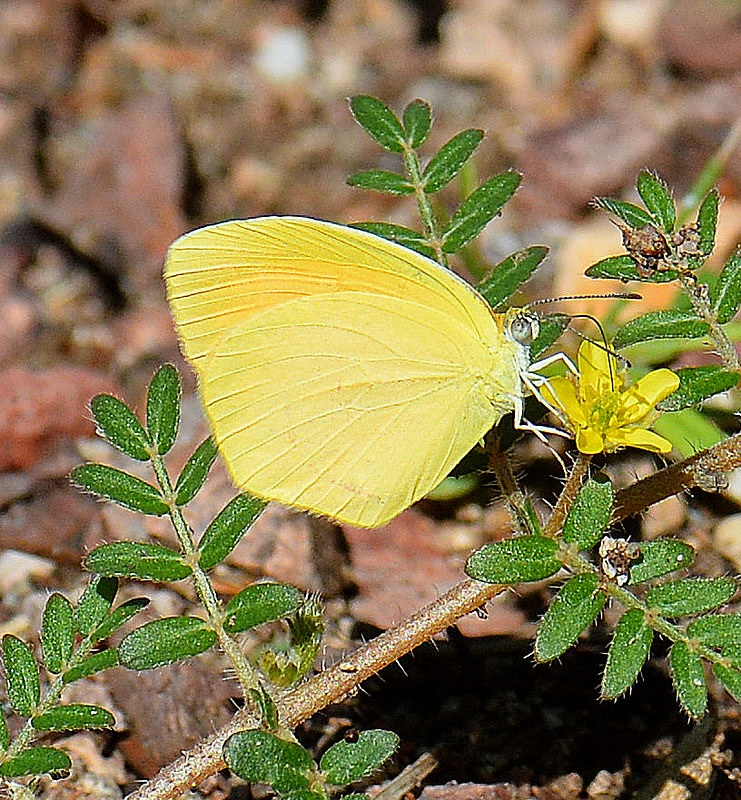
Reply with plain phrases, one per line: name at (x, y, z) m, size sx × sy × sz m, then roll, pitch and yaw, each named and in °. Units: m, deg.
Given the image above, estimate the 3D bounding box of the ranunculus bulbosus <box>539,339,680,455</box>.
ranunculus bulbosus at (0.599, -0.004, 2.320) m, size 0.277 × 0.175 × 0.359 m, roll -19°, pitch 30°, yaw 7°
